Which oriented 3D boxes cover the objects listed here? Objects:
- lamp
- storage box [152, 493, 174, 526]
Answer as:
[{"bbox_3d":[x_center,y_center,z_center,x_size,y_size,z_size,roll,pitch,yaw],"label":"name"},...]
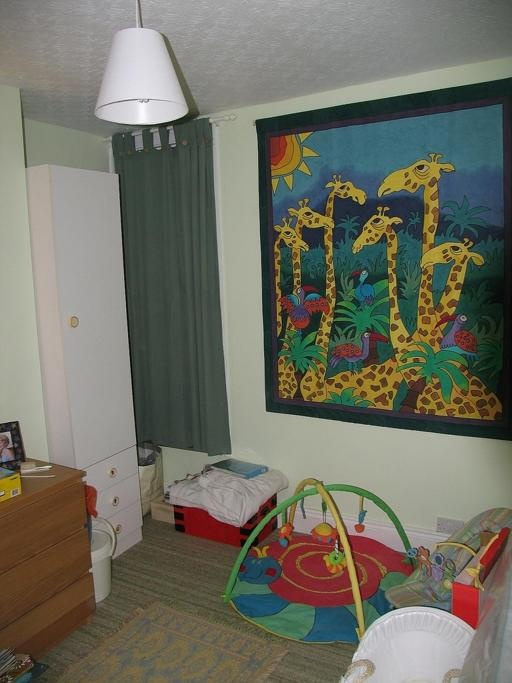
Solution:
[{"bbox_3d":[-0.353,-0.836,1.602,0.261,0.374,0.372,-7,13,-12],"label":"lamp"},{"bbox_3d":[-0.565,1.014,3.380,0.149,0.085,0.147,11,5,21],"label":"storage box"}]
